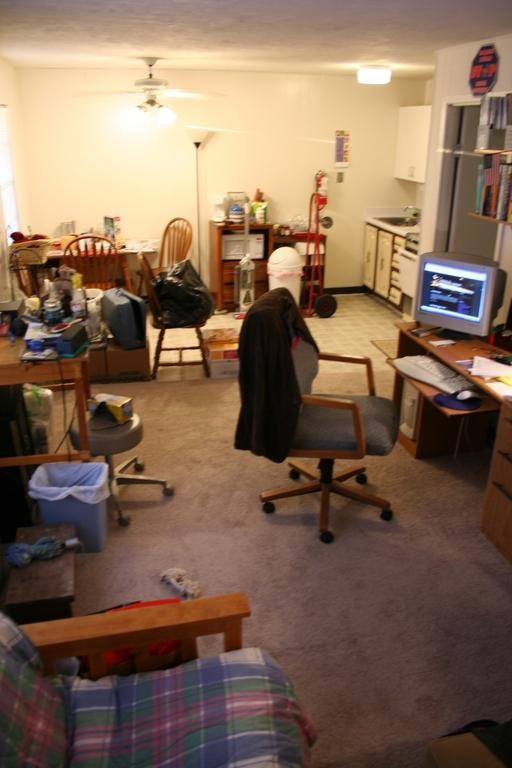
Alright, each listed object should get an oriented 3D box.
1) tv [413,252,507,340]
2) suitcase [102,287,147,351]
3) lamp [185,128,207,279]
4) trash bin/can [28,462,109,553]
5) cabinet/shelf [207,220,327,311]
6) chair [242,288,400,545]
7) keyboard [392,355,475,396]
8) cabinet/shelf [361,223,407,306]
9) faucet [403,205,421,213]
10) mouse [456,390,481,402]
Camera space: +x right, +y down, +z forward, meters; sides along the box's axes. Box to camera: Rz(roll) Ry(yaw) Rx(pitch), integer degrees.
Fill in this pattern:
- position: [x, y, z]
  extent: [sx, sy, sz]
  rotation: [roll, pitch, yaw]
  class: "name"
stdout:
- position: [1.086, -0.467, 3.066]
  extent: [0.217, 0.374, 0.395]
  rotation: [-17, 29, -29]
  class: "tv"
- position: [-0.960, -0.460, 4.112]
  extent: [0.229, 0.361, 0.397]
  rotation: [-13, 40, -20]
  class: "suitcase"
- position: [-0.645, -2.081, 6.307]
  extent: [0.217, 1.391, 0.208]
  rotation: [6, 24, 6]
  class: "lamp"
- position: [-0.764, 0.547, 2.407]
  extent: [0.294, 0.412, 0.240]
  rotation: [-6, 21, -12]
  class: "trash bin/can"
- position: [0.081, -1.324, 6.391]
  extent: [0.428, 1.003, 1.058]
  rotation: [-23, 21, -26]
  class: "cabinet/shelf"
- position: [0.266, 0.142, 2.617]
  extent: [0.790, 1.106, 0.655]
  rotation: [-10, 22, -22]
  class: "chair"
- position: [0.870, -0.047, 2.782]
  extent: [0.159, 0.065, 0.270]
  rotation: [-13, 29, -17]
  class: "keyboard"
- position: [1.570, -1.419, 6.576]
  extent: [0.451, 0.803, 0.876]
  rotation: [-3, 24, -7]
  class: "cabinet/shelf"
- position: [1.833, -2.076, 6.694]
  extent: [0.185, 0.087, 0.387]
  rotation: [1, 21, 6]
  class: "faucet"
- position: [0.959, 0.036, 2.565]
  extent: [0.090, 0.042, 0.055]
  rotation: [-13, 19, -40]
  class: "mouse"
